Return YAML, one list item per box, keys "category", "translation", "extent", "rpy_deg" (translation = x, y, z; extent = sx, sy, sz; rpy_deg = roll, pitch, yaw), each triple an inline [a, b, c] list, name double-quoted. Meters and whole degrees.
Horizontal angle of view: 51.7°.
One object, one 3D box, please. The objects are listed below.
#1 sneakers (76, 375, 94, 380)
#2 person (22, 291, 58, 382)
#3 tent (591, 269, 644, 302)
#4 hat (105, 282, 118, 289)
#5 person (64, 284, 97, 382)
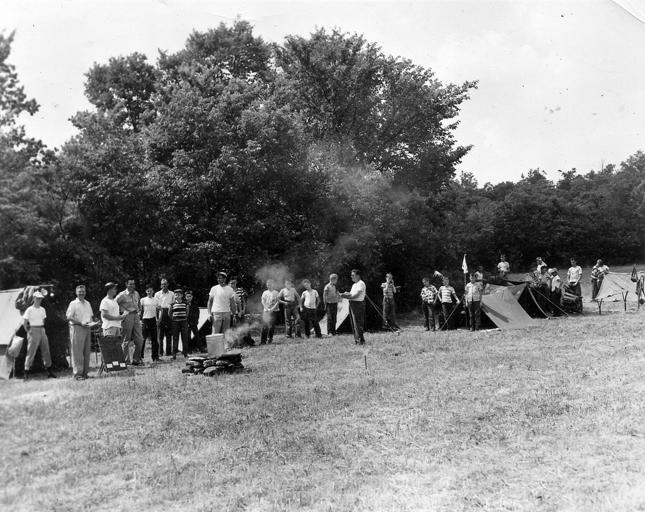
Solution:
- category: "sneakers"
  translation: [-4.995, 2.536, 13.800]
  extent: [0.194, 0.082, 0.153]
  rpy_deg: [0, -4, 0]
- category: "person"
  translation: [-6.078, 1.711, 14.036]
  extent: [0.666, 1.874, 0.839]
  rpy_deg: [4, 8, 30]
- category: "tent"
  translation: [11.046, 1.149, 24.931]
  extent: [1.488, 0.710, 1.545]
  rpy_deg: [-10, -5, 37]
- category: "hat"
  translation: [-5.316, 0.736, 16.670]
  extent: [0.328, 0.124, 0.349]
  rpy_deg: [-1, -3, -7]
- category: "person"
  translation: [-5.082, 1.631, 13.955]
  extent: [0.479, 1.956, 0.799]
  rpy_deg: [-3, 8, -21]
